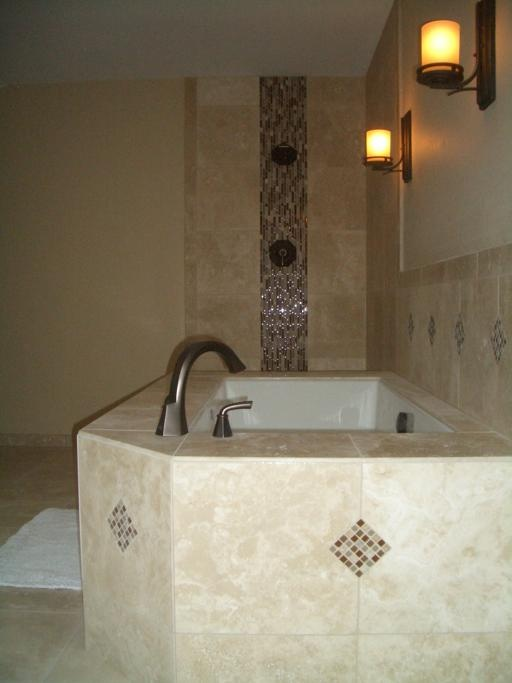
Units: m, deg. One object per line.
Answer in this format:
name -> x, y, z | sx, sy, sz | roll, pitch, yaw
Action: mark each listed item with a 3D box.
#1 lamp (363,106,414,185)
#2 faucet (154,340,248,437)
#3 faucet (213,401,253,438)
lamp -> 0.519, -0.762, 2.542 | 0.164, 0.299, 0.129 | 6, -14, 4
faucet -> -0.103, 0.127, 1.682 | 0.120, 0.310, 0.522 | -3, -7, 11
faucet -> -0.051, 0.181, 1.470 | 0.094, 0.104, 0.065 | -1, -3, -5
